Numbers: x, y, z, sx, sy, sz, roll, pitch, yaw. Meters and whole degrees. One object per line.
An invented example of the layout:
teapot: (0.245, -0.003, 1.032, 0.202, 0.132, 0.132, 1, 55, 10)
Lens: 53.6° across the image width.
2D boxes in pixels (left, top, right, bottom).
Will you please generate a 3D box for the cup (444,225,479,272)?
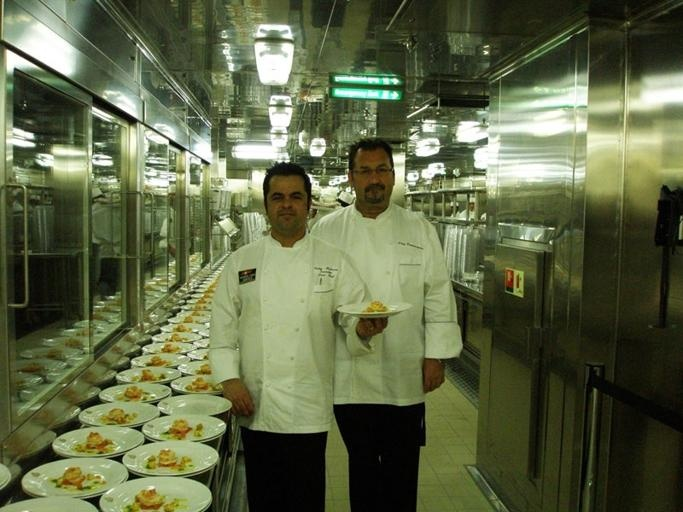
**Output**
cup: (1.312, -0.085, 7.303, 0.208, 0.612, 0.474, 1, -5, -15)
